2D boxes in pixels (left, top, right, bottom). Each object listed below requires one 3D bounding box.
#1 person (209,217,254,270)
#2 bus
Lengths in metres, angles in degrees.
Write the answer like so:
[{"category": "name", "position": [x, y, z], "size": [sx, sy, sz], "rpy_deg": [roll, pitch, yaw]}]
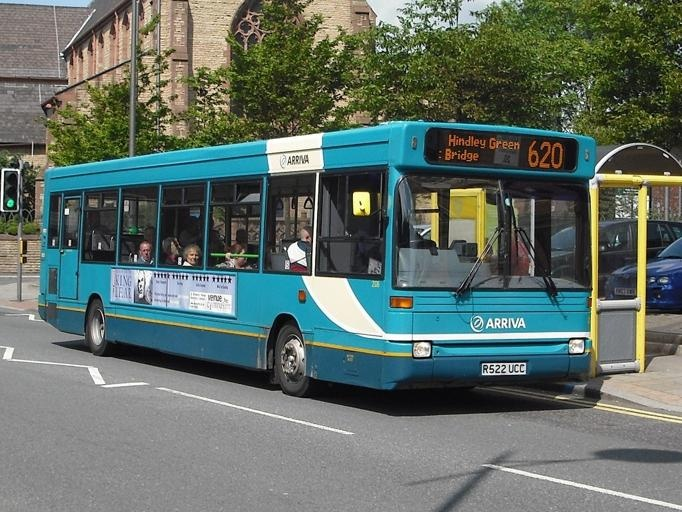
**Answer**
[{"category": "person", "position": [-1.629, -0.148, 10.822], "size": [0.674, 0.682, 0.157], "rpy_deg": [4, 3, 38]}, {"category": "bus", "position": [-1.847, 0.053, 12.442], "size": [11.798, 3.739, 2.824], "rpy_deg": [1, 1, 43]}]
